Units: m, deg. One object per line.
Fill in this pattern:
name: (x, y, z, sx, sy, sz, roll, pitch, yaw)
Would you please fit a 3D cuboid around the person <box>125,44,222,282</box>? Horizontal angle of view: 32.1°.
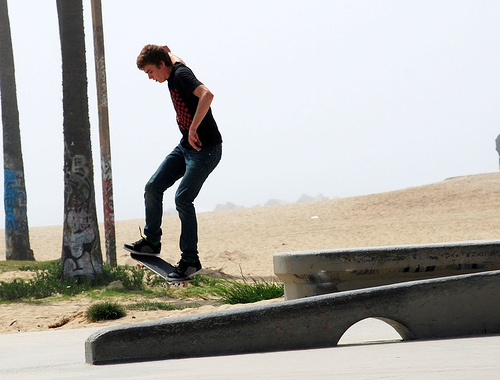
person: (-0.937, -0.373, 11.360, 1.177, 3.035, 0.533, -5, 1, -1)
